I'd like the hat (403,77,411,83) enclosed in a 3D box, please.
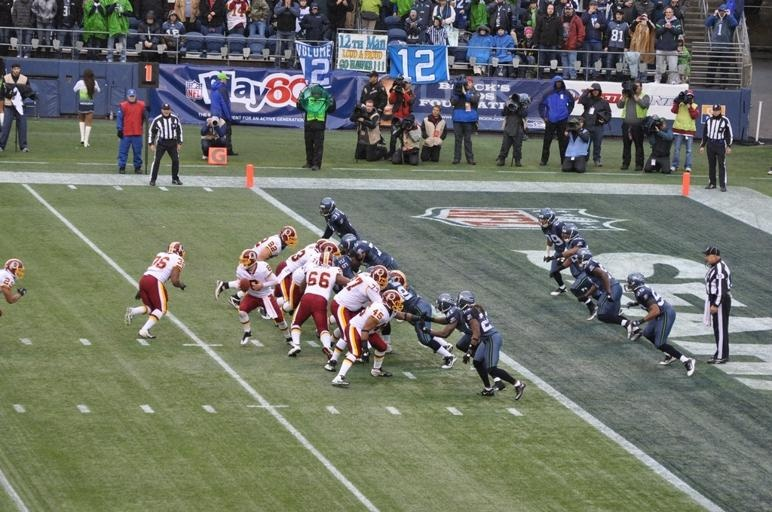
[{"bbox_3d":[0.688,-5.566,48.975,0.352,0.125,0.448,0,10,-3],"label":"hat"}]

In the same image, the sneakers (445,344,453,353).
[{"bbox_3d":[1.402,2.081,34.445,0.172,0.190,0.192,-5,20,8],"label":"sneakers"}]

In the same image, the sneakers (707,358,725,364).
[{"bbox_3d":[7.475,2.406,35.167,0.394,0.138,0.129,4,0,5],"label":"sneakers"}]

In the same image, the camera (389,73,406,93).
[{"bbox_3d":[0.305,-5.267,47.209,0.633,0.546,0.442,-8,19,-44],"label":"camera"}]

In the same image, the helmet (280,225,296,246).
[{"bbox_3d":[-2.237,-0.449,35.443,0.489,0.406,0.344,9,9,-10],"label":"helmet"}]

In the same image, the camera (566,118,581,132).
[{"bbox_3d":[5.576,-3.886,46.064,0.480,0.240,0.625,0,6,11],"label":"camera"}]

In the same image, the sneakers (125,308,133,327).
[{"bbox_3d":[-5.716,1.417,34.405,0.158,0.372,0.255,-3,44,-17],"label":"sneakers"}]

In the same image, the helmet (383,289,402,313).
[{"bbox_3d":[0.150,0.993,33.254,0.527,0.427,0.369,10,-2,-12],"label":"helmet"}]

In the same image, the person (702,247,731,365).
[{"bbox_3d":[7.490,1.164,35.045,0.537,2.635,0.575,0,10,10],"label":"person"}]

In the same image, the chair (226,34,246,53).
[{"bbox_3d":[-5.096,-7.261,52.608,0.657,0.634,0.650,2,36,-7],"label":"chair"}]

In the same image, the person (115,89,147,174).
[{"bbox_3d":[-7.153,-3.464,43.581,0.862,2.371,0.787,-3,10,-9],"label":"person"}]

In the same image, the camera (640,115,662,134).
[{"bbox_3d":[7.902,-3.928,46.268,0.454,0.485,0.213,4,36,3],"label":"camera"}]

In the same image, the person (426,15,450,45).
[{"bbox_3d":[1.730,-7.641,52.499,0.735,0.956,1.002,-1,10,3],"label":"person"}]

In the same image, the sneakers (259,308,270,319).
[{"bbox_3d":[-2.792,1.348,35.434,0.188,0.158,0.441,-10,-10,-5],"label":"sneakers"}]

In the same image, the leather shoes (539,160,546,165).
[{"bbox_3d":[4.813,-2.856,47.760,0.207,0.182,0.478,0,1,9],"label":"leather shoes"}]

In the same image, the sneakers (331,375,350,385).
[{"bbox_3d":[-0.986,2.726,33.424,0.442,0.179,0.145,-2,14,-1],"label":"sneakers"}]

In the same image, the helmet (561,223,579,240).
[{"bbox_3d":[4.413,-0.578,37.311,0.443,0.323,0.314,-5,15,10],"label":"helmet"}]

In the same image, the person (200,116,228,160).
[{"bbox_3d":[-5.121,-3.516,46.279,0.778,1.334,1.301,-3,10,-6],"label":"person"}]

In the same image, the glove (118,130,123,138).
[{"bbox_3d":[-7.403,-3.391,43.273,0.133,0.227,0.204,-3,10,-8],"label":"glove"}]

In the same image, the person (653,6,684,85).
[{"bbox_3d":[9.380,-7.015,51.731,0.808,2.503,1.073,0,10,8],"label":"person"}]

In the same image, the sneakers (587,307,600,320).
[{"bbox_3d":[4.915,1.402,36.743,0.129,0.143,0.361,17,38,28],"label":"sneakers"}]

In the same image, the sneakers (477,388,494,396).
[{"bbox_3d":[2.153,2.999,33.528,0.360,0.204,0.110,4,16,1],"label":"sneakers"}]

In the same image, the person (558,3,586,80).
[{"bbox_3d":[6.281,-7.222,52.148,0.760,2.482,0.722,-1,10,6],"label":"person"}]

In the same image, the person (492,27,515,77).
[{"bbox_3d":[3.945,-6.907,52.261,0.738,1.626,0.845,-1,10,4],"label":"person"}]

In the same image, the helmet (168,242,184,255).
[{"bbox_3d":[-4.745,-0.149,34.975,0.388,0.344,0.316,1,4,-44],"label":"helmet"}]

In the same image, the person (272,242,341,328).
[{"bbox_3d":[-1.765,0.718,34.805,1.090,1.914,0.790,32,31,-28],"label":"person"}]

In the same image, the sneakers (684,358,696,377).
[{"bbox_3d":[6.786,2.535,34.662,0.259,0.468,0.181,0,49,8],"label":"sneakers"}]

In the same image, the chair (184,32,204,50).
[{"bbox_3d":[-6.465,-7.229,52.235,0.623,0.614,0.584,1,38,-5],"label":"chair"}]

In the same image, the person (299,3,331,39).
[{"bbox_3d":[-2.435,-7.849,52.299,0.975,1.133,1.612,-2,9,-1],"label":"person"}]

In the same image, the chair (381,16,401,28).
[{"bbox_3d":[0.177,-8.000,53.133,0.584,0.434,0.250,3,11,25],"label":"chair"}]

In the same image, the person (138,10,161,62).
[{"bbox_3d":[-7.828,-7.315,51.463,0.716,1.628,1.263,-3,10,-8],"label":"person"}]

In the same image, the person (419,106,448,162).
[{"bbox_3d":[1.425,-3.735,47.461,0.736,1.757,1.563,-1,10,2],"label":"person"}]

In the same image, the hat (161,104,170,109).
[{"bbox_3d":[-6.005,-4.104,42.248,0.227,0.141,0.313,6,-9,-14],"label":"hat"}]

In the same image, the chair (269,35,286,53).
[{"bbox_3d":[-3.663,-7.137,52.324,0.627,0.622,0.684,0,12,-3],"label":"chair"}]

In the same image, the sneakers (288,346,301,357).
[{"bbox_3d":[-2.058,2.152,34.385,0.195,0.132,0.292,-7,-13,-41],"label":"sneakers"}]

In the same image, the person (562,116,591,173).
[{"bbox_3d":[5.692,-3.323,46.507,0.822,1.711,0.967,-1,10,6],"label":"person"}]
